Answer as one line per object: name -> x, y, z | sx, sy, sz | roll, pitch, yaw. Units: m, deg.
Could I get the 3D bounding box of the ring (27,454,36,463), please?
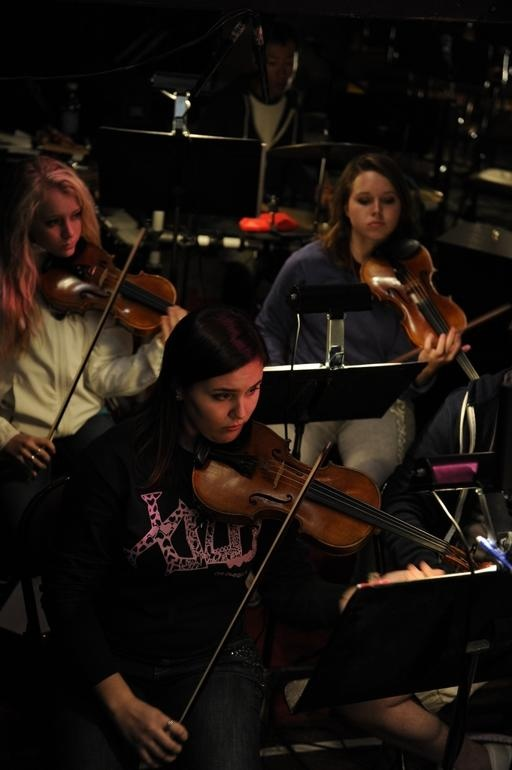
ring -> -0.548, 0.176, 1.654 | 0.012, 0.021, 0.005 | 1, 6, -5

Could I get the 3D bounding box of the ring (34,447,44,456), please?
ring -> -0.530, 0.160, 1.656 | 0.013, 0.021, 0.005 | 10, 6, -1

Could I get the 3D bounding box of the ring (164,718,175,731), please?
ring -> -0.164, 0.643, 1.292 | 0.005, 0.016, 0.017 | 34, -1, 21

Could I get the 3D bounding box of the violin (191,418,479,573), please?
violin -> 0.189, 0.279, 1.504 | 0.677, 0.094, 0.228 | 23, 57, -4
